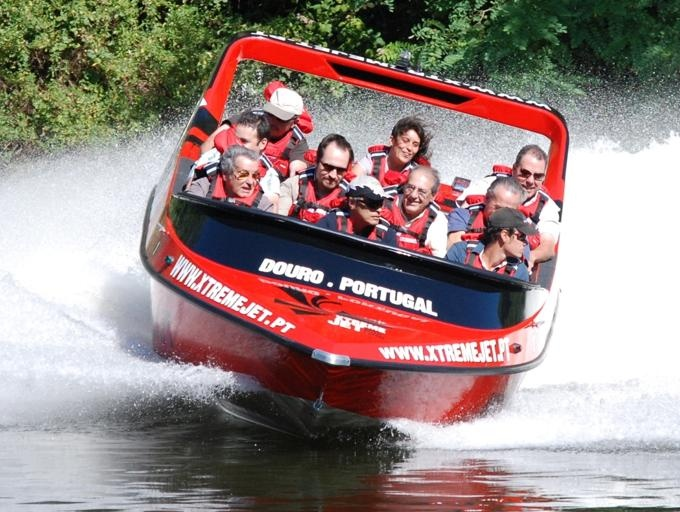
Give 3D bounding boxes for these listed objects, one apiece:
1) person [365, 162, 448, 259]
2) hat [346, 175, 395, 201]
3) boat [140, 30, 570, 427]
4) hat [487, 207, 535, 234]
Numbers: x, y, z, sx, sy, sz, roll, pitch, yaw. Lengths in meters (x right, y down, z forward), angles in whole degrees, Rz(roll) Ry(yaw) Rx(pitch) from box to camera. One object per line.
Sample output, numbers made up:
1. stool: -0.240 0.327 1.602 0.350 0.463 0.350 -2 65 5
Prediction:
1. person: 0.659 -0.325 8.801 0.607 0.766 0.308 19 38 8
2. hat: 0.226 -0.516 8.302 0.258 0.186 0.123 16 96 18
3. boat: -0.084 0.013 9.536 2.982 2.361 4.178 21 24 -3
4. hat: 1.378 -0.286 8.529 0.332 0.203 0.152 -1 102 -8
